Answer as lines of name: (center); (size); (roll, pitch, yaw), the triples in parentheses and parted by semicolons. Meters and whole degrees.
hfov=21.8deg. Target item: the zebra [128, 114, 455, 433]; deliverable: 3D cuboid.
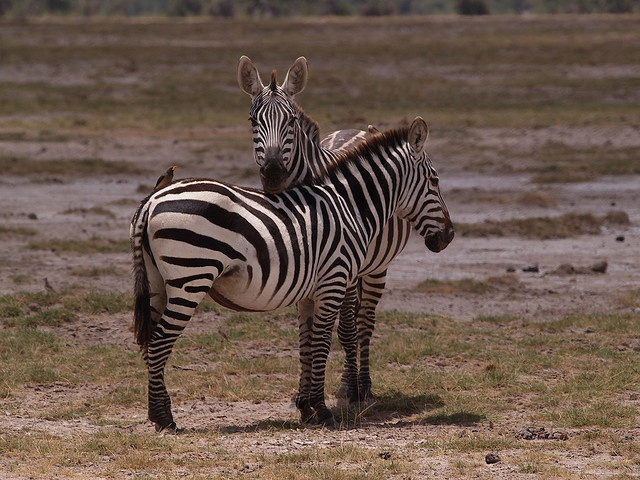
zebra: (-0.285, 0.780, 25.036); (5.729, 4.810, 1.685); (0, -1, -22)
